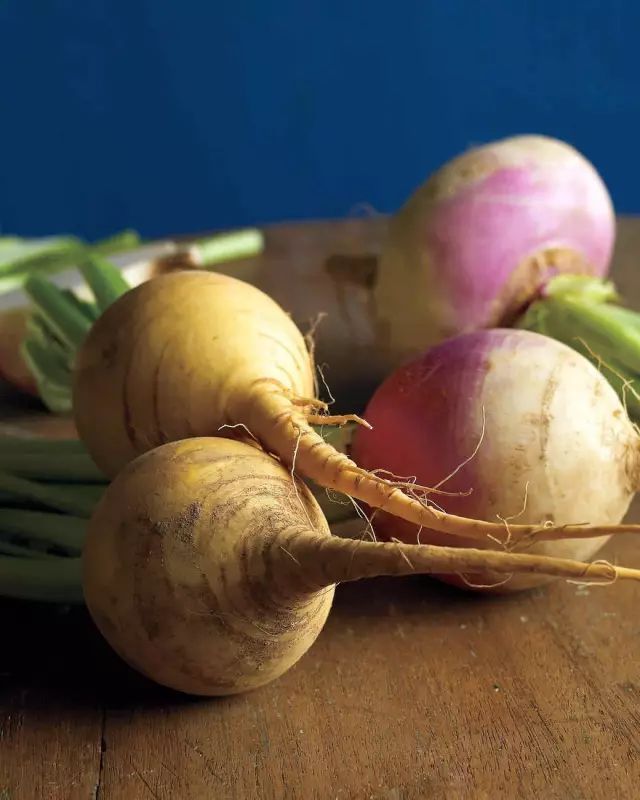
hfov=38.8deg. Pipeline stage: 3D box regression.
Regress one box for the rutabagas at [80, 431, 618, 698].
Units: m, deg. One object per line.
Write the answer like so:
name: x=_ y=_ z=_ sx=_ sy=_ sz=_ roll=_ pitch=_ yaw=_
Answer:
rutabagas: x=-0.028 y=0.110 z=0.651 sx=0.392 sy=0.137 sz=0.149 roll=-6 pitch=25 yaw=29

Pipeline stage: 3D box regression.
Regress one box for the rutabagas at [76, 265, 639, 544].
rutabagas: x=-0.047 y=-0.025 z=0.787 sx=0.568 sy=0.151 sz=0.189 roll=11 pitch=4 yaw=28

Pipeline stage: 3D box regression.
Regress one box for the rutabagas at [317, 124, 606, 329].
rutabagas: x=0.187 y=-0.161 z=1.083 sx=0.383 sy=0.169 sz=0.264 roll=-3 pitch=-19 yaw=-32
